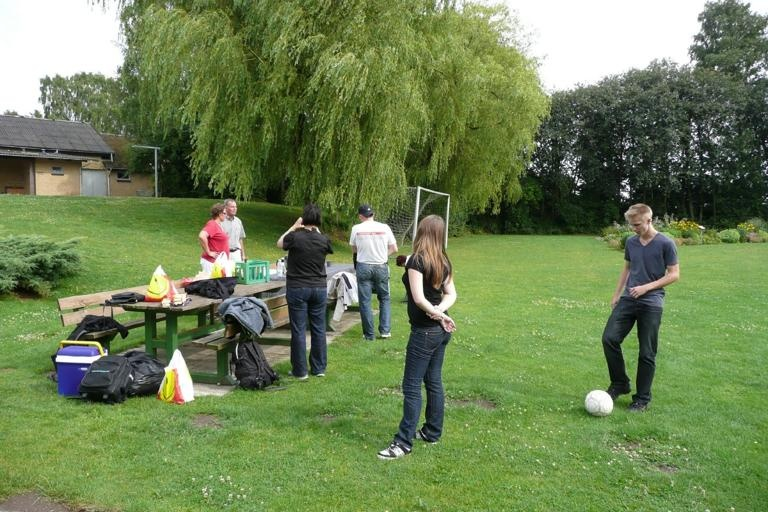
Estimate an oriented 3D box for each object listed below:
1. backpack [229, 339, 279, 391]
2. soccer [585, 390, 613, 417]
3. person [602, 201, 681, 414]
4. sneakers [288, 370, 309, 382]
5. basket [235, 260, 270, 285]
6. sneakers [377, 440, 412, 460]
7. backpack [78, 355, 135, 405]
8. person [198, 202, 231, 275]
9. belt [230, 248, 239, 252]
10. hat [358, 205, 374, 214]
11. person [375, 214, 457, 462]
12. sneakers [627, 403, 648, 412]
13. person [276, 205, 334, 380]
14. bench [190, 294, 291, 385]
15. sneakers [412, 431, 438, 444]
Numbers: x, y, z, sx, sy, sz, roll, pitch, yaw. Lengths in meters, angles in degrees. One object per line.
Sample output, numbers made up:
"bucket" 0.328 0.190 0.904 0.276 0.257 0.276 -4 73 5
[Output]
"backpack" -2.333 1.889 10.913 0.797 0.887 0.385 0 4 -14
"soccer" 3.621 2.443 10.336 0.396 0.420 0.412 -15 -3 34
"person" 4.382 0.836 10.446 1.092 3.458 0.866 4 5 36
"sneakers" -1.601 2.196 11.225 0.270 0.101 0.163 -1 -4 21
"basket" -2.710 0.312 12.505 0.496 0.317 0.488 -3 5 -33
"sneakers" 0.136 2.933 9.254 0.411 0.171 0.233 2 -7 -5
"backpack" -4.859 2.043 10.537 0.837 0.432 1.167 4 11 -9
"person" -3.726 -0.402 13.365 0.606 1.534 1.709 0 4 -15
"belt" -3.502 -0.145 14.148 0.175 0.054 0.070 -3 -2 28
"hat" -0.429 -0.986 12.840 0.249 0.191 0.368 5 8 -18
"person" 0.567 1.202 9.331 1.000 3.657 0.568 0 4 -8
"sneakers" 4.281 2.543 10.319 0.285 0.128 0.145 4 1 -3
"person" -1.436 0.647 11.145 0.847 3.149 0.415 -1 4 -18
"bench" -2.643 1.467 12.090 1.133 1.284 3.134 2 7 14
"sneakers" 0.641 2.837 9.654 0.388 0.186 0.160 10 -2 17
